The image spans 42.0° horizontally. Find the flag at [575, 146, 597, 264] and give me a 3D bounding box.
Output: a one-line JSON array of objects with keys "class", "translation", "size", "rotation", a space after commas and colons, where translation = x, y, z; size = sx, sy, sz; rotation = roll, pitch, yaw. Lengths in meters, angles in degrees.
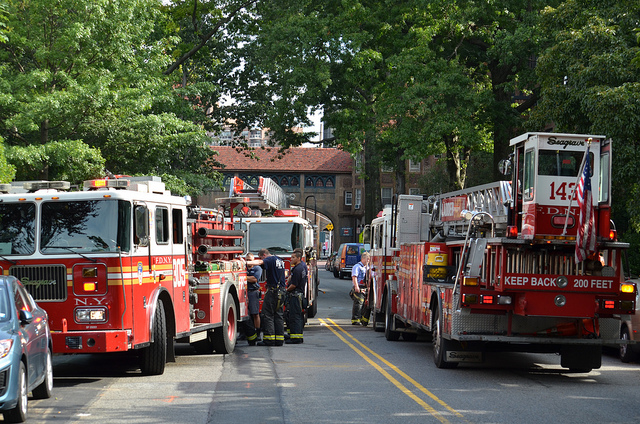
[{"class": "flag", "translation": [5.831, -0.105, 18.587], "size": [0.459, 2.416, 0.353], "rotation": [0, 2, -18]}]

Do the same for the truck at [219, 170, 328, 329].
[{"class": "truck", "translation": [-1.690, 1.334, 26.042], "size": [2.180, 3.418, 6.371], "rotation": [-2, -6, 6]}]

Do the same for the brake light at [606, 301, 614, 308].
[{"class": "brake light", "translation": [6.491, 2.094, 18.763], "size": [0.164, 0.143, 0.022], "rotation": [1, 2, 6]}]

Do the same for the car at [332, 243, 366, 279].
[{"class": "car", "translation": [1.809, 3.189, 53.555], "size": [1.028, 2.411, 5.914], "rotation": [0, 0, -5]}]

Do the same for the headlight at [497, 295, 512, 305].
[{"class": "headlight", "translation": [4.122, 1.983, 18.713], "size": [0.317, 0.214, 0.118], "rotation": [1, 1, 12]}]

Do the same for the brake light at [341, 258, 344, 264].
[{"class": "brake light", "translation": [1.443, 3.145, 53.166], "size": [0.234, 0.491, 0.312], "rotation": [-7, 11, -30]}]
